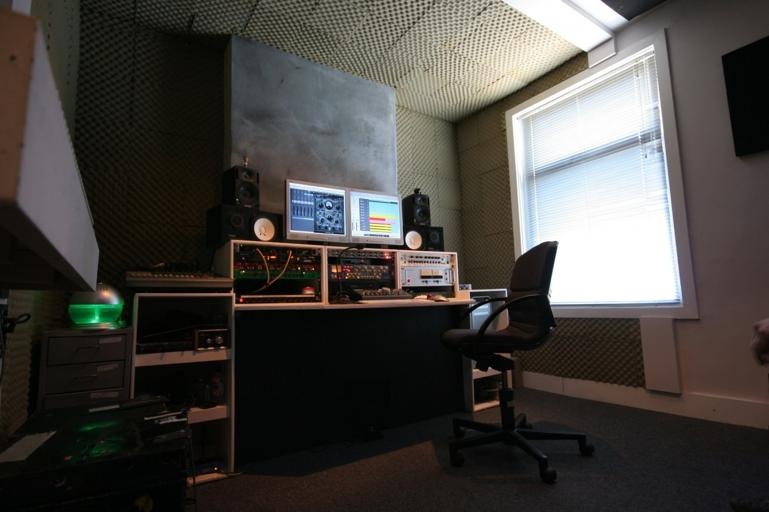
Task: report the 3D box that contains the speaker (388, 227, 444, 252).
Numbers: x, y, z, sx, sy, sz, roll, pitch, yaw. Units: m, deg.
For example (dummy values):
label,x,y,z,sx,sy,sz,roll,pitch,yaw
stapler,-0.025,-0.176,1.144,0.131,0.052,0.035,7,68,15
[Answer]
label,x,y,z,sx,sy,sz,roll,pitch,yaw
speaker,0.384,-0.185,5.386,0.437,0.283,0.240,2,-7,-29

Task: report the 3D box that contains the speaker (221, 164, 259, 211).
label,x,y,z,sx,sy,sz,roll,pitch,yaw
speaker,-1.200,-0.558,4.694,0.209,0.370,0.248,9,-23,-35

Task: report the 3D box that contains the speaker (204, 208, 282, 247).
label,x,y,z,sx,sy,sz,roll,pitch,yaw
speaker,-1.053,-0.296,4.625,0.505,0.306,0.296,10,23,-2

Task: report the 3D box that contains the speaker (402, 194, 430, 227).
label,x,y,z,sx,sy,sz,roll,pitch,yaw
speaker,0.309,-0.474,5.448,0.219,0.344,0.244,0,-6,-21

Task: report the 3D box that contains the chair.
label,x,y,z,sx,sy,sz,roll,pitch,yaw
chair,1.025,0.725,4.326,1.103,1.648,1.188,1,-4,-8

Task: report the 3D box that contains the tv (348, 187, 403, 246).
label,x,y,z,sx,sy,sz,roll,pitch,yaw
tv,-0.087,-0.352,5.044,0.509,0.445,0.055,5,-15,-28

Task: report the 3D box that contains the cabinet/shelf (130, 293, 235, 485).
label,x,y,z,sx,sy,sz,roll,pitch,yaw
cabinet/shelf,-1.569,1.034,4.255,0.713,1.378,0.695,0,-17,-21

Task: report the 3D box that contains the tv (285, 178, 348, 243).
label,x,y,z,sx,sy,sz,roll,pitch,yaw
tv,-0.593,-0.377,4.784,0.525,0.466,0.053,5,-15,-28
